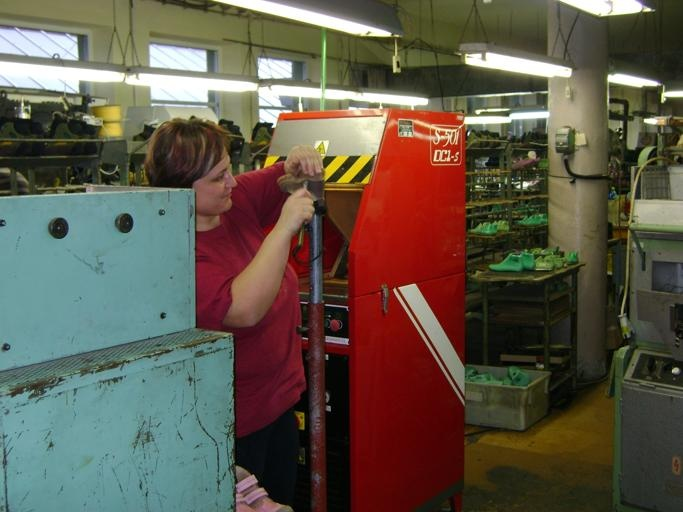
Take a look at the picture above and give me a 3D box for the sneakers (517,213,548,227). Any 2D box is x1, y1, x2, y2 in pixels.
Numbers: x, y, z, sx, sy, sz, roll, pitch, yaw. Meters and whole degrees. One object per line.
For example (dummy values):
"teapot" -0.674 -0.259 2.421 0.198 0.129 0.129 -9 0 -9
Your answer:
"sneakers" 2.736 -0.499 8.846 0.487 0.200 0.180 -2 -2 -39

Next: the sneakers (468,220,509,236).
"sneakers" 1.858 -0.341 7.682 0.311 0.111 0.272 -5 5 -15

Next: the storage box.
"storage box" 1.286 1.099 4.852 0.505 0.266 0.532 0 3 27

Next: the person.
"person" -0.332 0.273 2.131 0.561 1.453 0.783 -4 8 -17
